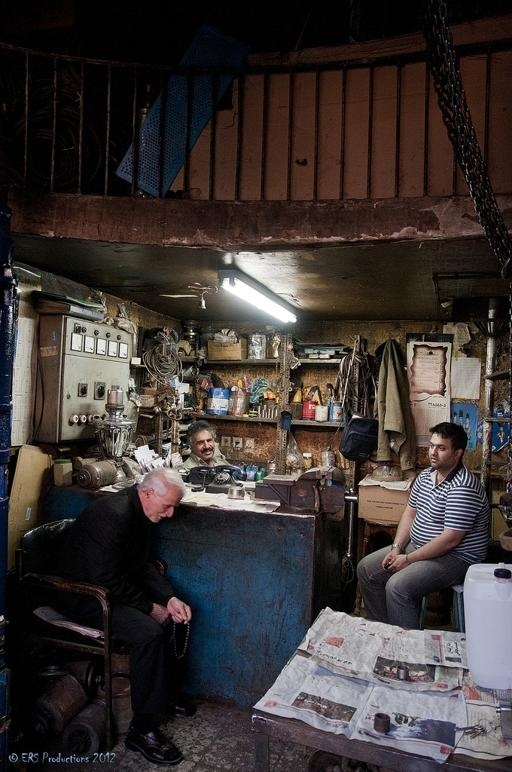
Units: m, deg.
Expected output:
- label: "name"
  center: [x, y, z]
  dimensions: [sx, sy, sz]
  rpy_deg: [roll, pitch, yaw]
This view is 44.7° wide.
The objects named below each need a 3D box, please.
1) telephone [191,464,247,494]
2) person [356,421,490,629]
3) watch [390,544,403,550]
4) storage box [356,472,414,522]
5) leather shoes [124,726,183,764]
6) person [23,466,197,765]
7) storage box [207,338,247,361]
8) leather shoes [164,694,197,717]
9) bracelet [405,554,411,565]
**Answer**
- label: "telephone"
  center: [-0.279, 0.661, 4.242]
  dimensions: [0.384, 0.163, 0.588]
  rpy_deg: [-1, 10, -4]
- label: "person"
  center: [1.064, 0.940, 3.908]
  dimensions: [0.719, 1.384, 0.729]
  rpy_deg: [-2, 10, -13]
- label: "watch"
  center: [0.914, 1.063, 4.094]
  dimensions: [0.053, 0.040, 0.060]
  rpy_deg: [19, -28, -29]
- label: "storage box"
  center: [1.091, 0.958, 5.360]
  dimensions: [0.396, 0.311, 0.410]
  rpy_deg: [0, 19, -2]
- label: "leather shoes"
  center: [-0.512, 1.777, 3.103]
  dimensions: [0.254, 0.114, 0.128]
  rpy_deg: [8, -5, 21]
- label: "person"
  center: [-0.587, 1.234, 4.010]
  dimensions: [1.236, 1.895, 1.020]
  rpy_deg: [3, -6, -1]
- label: "storage box"
  center: [-0.313, -0.372, 6.510]
  dimensions: [0.272, 0.183, 0.282]
  rpy_deg: [0, 2, 15]
- label: "leather shoes"
  center: [-0.419, 1.797, 3.525]
  dimensions: [0.102, 0.055, 0.147]
  rpy_deg: [8, 4, 0]
- label: "bracelet"
  center: [0.921, 1.063, 3.818]
  dimensions: [0.048, 0.048, 0.038]
  rpy_deg: [12, -4, 9]
